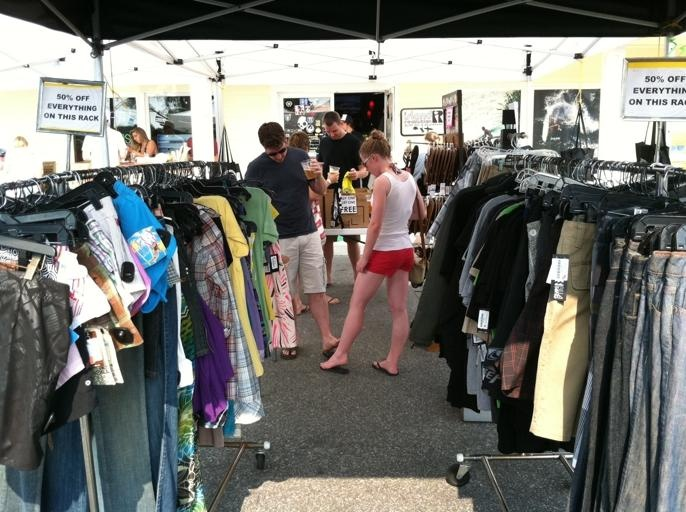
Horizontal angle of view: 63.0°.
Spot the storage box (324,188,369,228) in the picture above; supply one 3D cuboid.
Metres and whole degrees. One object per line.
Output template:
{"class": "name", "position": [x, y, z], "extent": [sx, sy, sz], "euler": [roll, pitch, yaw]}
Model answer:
{"class": "storage box", "position": [0.050, -0.576, 6.251], "extent": [0.437, 0.322, 0.442], "euler": [1, 21, 0]}

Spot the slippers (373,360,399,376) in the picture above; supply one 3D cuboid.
{"class": "slippers", "position": [0.357, 0.938, 4.686], "extent": [0.089, 0.055, 0.201], "euler": [-6, 22, -40]}

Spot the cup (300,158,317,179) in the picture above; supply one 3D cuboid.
{"class": "cup", "position": [-0.252, -0.665, 4.418], "extent": [0.141, 0.157, 0.145], "euler": [-23, 2, 1]}

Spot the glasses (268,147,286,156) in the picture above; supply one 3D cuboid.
{"class": "glasses", "position": [-0.532, -0.828, 4.501], "extent": [0.138, 0.076, 0.113], "euler": [-3, 14, -9]}

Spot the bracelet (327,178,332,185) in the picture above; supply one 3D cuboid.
{"class": "bracelet", "position": [-0.123, -0.636, 4.809], "extent": [0.041, 0.055, 0.022], "euler": [-4, -3, 2]}

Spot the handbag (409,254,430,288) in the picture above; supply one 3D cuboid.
{"class": "handbag", "position": [0.650, 0.126, 4.760], "extent": [0.128, 0.291, 0.242], "euler": [0, 21, -11]}

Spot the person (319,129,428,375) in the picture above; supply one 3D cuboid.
{"class": "person", "position": [0.289, 0.009, 4.493], "extent": [0.668, 1.963, 0.559], "euler": [-13, 18, -40]}

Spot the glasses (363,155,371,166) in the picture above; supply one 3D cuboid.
{"class": "glasses", "position": [0.170, -0.717, 4.257], "extent": [0.056, 0.082, 0.169], "euler": [-3, 14, -6]}

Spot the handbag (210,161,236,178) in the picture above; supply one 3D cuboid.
{"class": "handbag", "position": [-0.823, -0.597, 3.900], "extent": [0.092, 0.123, 0.312], "euler": [-3, 7, 12]}

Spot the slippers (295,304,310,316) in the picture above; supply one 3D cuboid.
{"class": "slippers", "position": [-0.447, 0.599, 6.178], "extent": [0.060, 0.073, 0.184], "euler": [3, 12, 14]}

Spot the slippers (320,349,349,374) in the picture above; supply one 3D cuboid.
{"class": "slippers", "position": [-0.074, 0.909, 4.744], "extent": [0.224, 0.076, 0.125], "euler": [8, 13, 15]}
